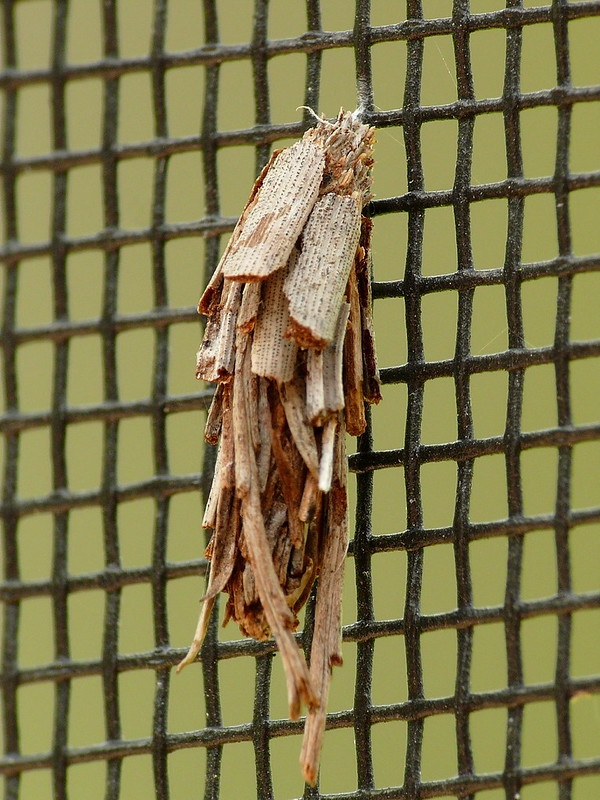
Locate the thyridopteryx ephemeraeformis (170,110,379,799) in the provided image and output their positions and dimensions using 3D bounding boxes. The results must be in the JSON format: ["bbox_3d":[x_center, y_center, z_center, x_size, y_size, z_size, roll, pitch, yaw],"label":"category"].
[{"bbox_3d":[-0.016,0.034,1.734,0.198,0.628,0.291,2,-34,2],"label":"thyridopteryx ephemeraeformis"}]
